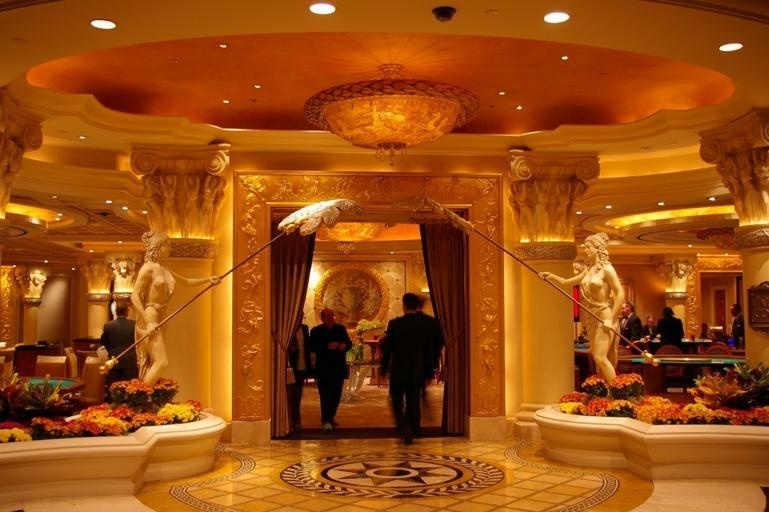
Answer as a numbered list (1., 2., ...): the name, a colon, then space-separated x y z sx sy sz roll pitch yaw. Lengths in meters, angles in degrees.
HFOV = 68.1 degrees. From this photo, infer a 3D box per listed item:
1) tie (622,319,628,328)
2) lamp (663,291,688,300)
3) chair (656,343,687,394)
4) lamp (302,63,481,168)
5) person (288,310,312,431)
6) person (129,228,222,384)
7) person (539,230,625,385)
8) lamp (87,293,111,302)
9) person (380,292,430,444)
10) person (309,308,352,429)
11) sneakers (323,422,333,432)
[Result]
1. tie: 5.825 1.618 13.764 0.088 0.190 0.163 12 -11 -21
2. lamp: 10.235 1.393 19.965 0.690 0.312 0.325 -1 -6 17
3. chair: 5.696 2.153 11.172 0.719 0.895 0.707 -7 -25 29
4. lamp: 0.108 -1.624 6.775 2.052 1.656 0.884 5 -47 2
5. person: -1.303 1.797 8.789 0.301 1.717 0.553 -1 -5 9
6. person: -2.684 0.596 6.930 0.719 1.850 0.380 2 -6 -20
7. person: 2.663 0.652 7.289 0.730 1.882 0.544 -1 -6 15
8. lamp: -9.729 1.382 19.439 0.712 0.258 0.284 3 -6 -25
9. person: 0.331 1.566 8.048 0.735 2.067 0.384 0 -5 0
10. person: -0.836 1.741 8.842 0.595 1.843 0.445 -1 -6 15
11. sneakers: -0.849 2.585 8.591 0.159 0.091 0.230 2 -9 -7
